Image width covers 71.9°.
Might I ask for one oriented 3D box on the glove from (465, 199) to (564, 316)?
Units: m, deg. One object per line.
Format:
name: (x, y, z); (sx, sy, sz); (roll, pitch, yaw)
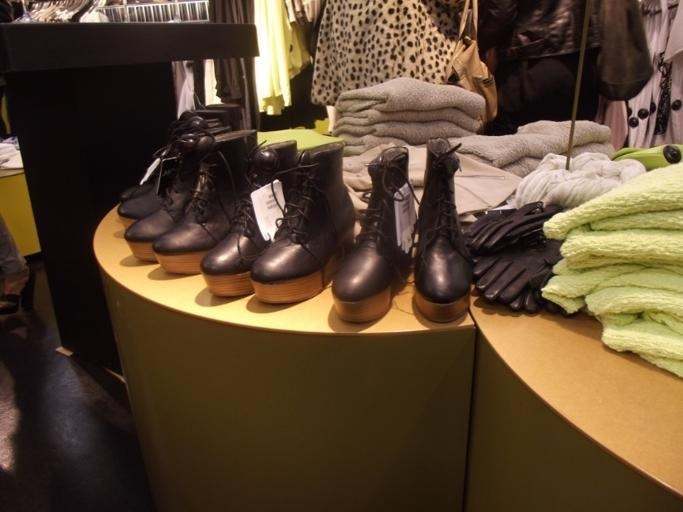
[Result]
glove: (0.344, 0.015, 0.939); (0.204, 0.073, 0.178); (-20, 48, -11)
